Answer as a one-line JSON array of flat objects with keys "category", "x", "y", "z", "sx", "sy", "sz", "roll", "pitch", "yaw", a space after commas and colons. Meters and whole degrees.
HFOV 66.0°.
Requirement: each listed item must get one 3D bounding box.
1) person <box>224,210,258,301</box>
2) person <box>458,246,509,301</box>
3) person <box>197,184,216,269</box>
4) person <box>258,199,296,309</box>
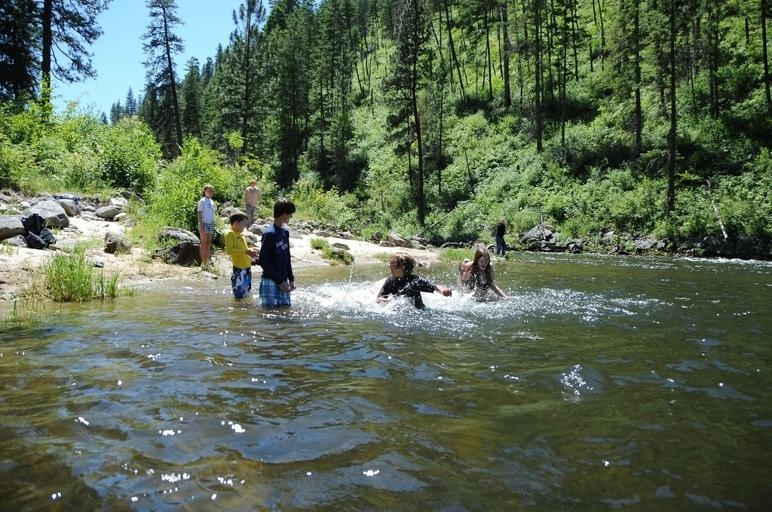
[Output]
[{"category": "person", "x": -4.141, "y": -0.017, "z": 17.021, "sx": 0.773, "sy": 2.417, "sz": 0.814, "roll": -2, "pitch": 4, "yaw": -13}, {"category": "person", "x": 2.625, "y": 0.442, "z": 16.742, "sx": 1.131, "sy": 1.507, "sz": 0.680, "roll": -1, "pitch": 4, "yaw": 9}, {"category": "person", "x": -6.420, "y": -1.087, "z": 21.370, "sx": 0.541, "sy": 2.935, "sz": 1.471, "roll": -3, "pitch": 4, "yaw": -17}, {"category": "person", "x": -2.833, "y": -0.052, "z": 15.374, "sx": 0.908, "sy": 2.805, "sz": 0.864, "roll": -2, "pitch": 4, "yaw": -13}]
